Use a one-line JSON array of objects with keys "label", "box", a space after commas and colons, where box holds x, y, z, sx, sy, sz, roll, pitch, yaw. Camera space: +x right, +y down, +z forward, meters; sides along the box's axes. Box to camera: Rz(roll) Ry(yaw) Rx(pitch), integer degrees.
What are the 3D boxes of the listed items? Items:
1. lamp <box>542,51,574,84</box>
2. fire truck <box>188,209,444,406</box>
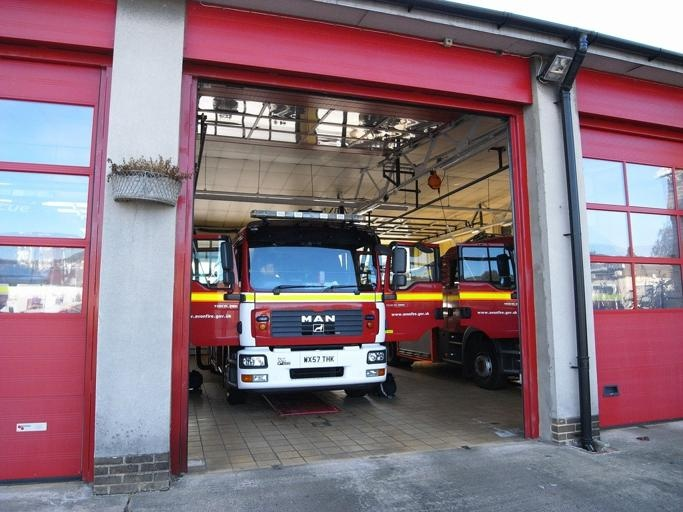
[{"label": "lamp", "box": [2.945, -2.572, 6.680, 0.292, 0.382, 0.371, 4, -8, -36]}, {"label": "fire truck", "box": [-0.784, 0.739, 7.841, 2.654, 1.683, 4.051, 2, -10, -16]}]
